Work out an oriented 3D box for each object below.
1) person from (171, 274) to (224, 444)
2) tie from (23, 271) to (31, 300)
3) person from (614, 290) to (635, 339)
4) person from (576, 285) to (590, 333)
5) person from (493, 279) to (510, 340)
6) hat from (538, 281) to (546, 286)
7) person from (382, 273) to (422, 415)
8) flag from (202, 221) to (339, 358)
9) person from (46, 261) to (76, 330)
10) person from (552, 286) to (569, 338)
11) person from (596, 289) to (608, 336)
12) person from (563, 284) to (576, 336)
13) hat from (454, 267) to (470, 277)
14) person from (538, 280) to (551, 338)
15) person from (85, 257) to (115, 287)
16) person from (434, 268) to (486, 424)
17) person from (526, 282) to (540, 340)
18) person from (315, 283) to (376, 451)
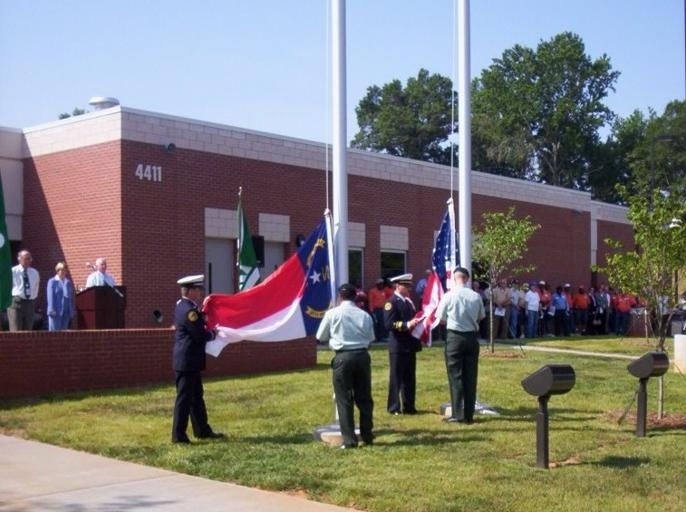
[{"bbox_3d":[-2.855,1.918,22.451,0.834,3.014,0.983,-1,9,-7],"label":"person"},{"bbox_3d":[-7.310,0.646,27.480,0.141,0.644,0.175,-3,10,-15],"label":"tie"},{"bbox_3d":[10.265,2.031,43.673,0.650,1.601,1.318,2,9,12],"label":"person"},{"bbox_3d":[8.789,1.998,43.856,0.557,1.841,1.480,2,9,11],"label":"person"},{"bbox_3d":[5.104,1.703,38.826,0.552,1.956,0.957,3,10,17],"label":"person"},{"bbox_3d":[6.955,0.883,41.810,0.258,0.130,0.371,-1,-11,13],"label":"hat"},{"bbox_3d":[1.207,1.782,24.565,0.723,2.749,0.995,0,9,4],"label":"person"},{"bbox_3d":[-1.722,0.774,26.178,3.677,3.977,0.508,0,5,4],"label":"flag"},{"bbox_3d":[-6.593,0.938,27.792,0.619,1.579,1.067,-2,9,-13],"label":"person"},{"bbox_3d":[7.578,1.969,41.842,0.569,1.733,1.129,2,9,10],"label":"person"},{"bbox_3d":[9.702,2.031,44.619,0.454,1.511,0.857,2,9,11],"label":"person"},{"bbox_3d":[8.134,1.821,43.010,0.563,1.756,0.506,-2,-22,13],"label":"person"},{"bbox_3d":[2.366,0.312,23.806,0.234,0.100,0.183,28,-11,-24],"label":"hat"},{"bbox_3d":[7.016,1.891,41.696,0.455,1.966,1.479,1,9,9],"label":"person"},{"bbox_3d":[-6.019,0.369,29.604,0.397,0.712,0.745,-8,-8,36],"label":"person"},{"bbox_3d":[2.336,1.740,23.620,0.879,2.965,1.138,1,9,5],"label":"person"},{"bbox_3d":[6.288,1.806,39.866,0.466,1.728,1.059,1,9,8],"label":"person"},{"bbox_3d":[0.121,2.002,22.163,0.890,2.893,1.033,-8,12,-38],"label":"person"}]
